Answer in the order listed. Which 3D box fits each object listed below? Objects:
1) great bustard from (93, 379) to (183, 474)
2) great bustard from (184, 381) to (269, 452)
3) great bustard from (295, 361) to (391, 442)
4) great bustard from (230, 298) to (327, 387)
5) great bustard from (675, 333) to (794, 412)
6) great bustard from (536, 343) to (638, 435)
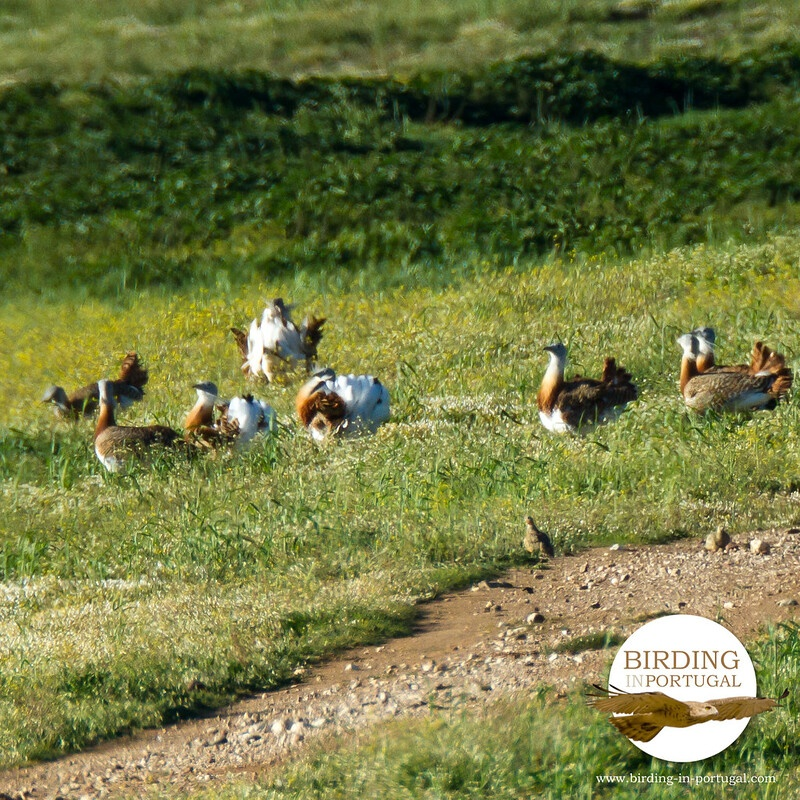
[{"bbox_3d":[-2.763,0.239,16.573,0.989,1.147,0.625,1,-3,-23],"label":"great bustard"},{"bbox_3d":[-1.784,0.170,16.917,0.798,0.774,0.543,-2,-6,-7],"label":"great bustard"},{"bbox_3d":[-0.593,0.001,17.430,0.790,0.723,0.623,2,17,11],"label":"great bustard"},{"bbox_3d":[-1.494,-0.768,19.996,0.697,1.210,0.491,1,39,-2],"label":"great bustard"},{"bbox_3d":[3.467,-0.297,16.856,1.085,1.060,0.670,0,-9,15],"label":"great bustard"},{"bbox_3d":[1.947,-0.059,16.880,1.009,1.251,0.669,-7,7,-6],"label":"great bustard"}]
